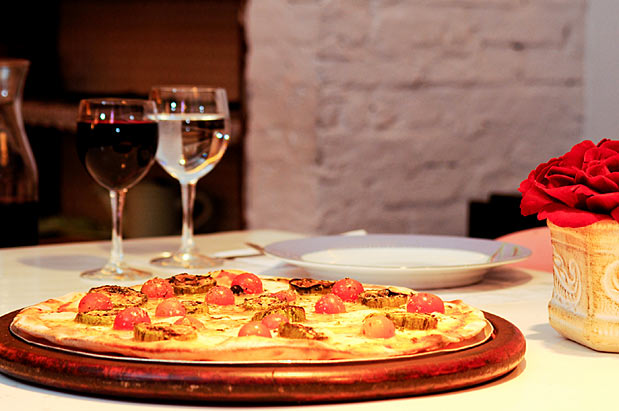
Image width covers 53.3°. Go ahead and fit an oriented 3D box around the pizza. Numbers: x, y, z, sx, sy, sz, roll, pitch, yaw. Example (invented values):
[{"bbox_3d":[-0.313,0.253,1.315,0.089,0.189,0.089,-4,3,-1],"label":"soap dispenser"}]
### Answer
[{"bbox_3d":[-0.054,0.106,0.667,0.482,0.038,0.327,0,5,14],"label":"pizza"}]
